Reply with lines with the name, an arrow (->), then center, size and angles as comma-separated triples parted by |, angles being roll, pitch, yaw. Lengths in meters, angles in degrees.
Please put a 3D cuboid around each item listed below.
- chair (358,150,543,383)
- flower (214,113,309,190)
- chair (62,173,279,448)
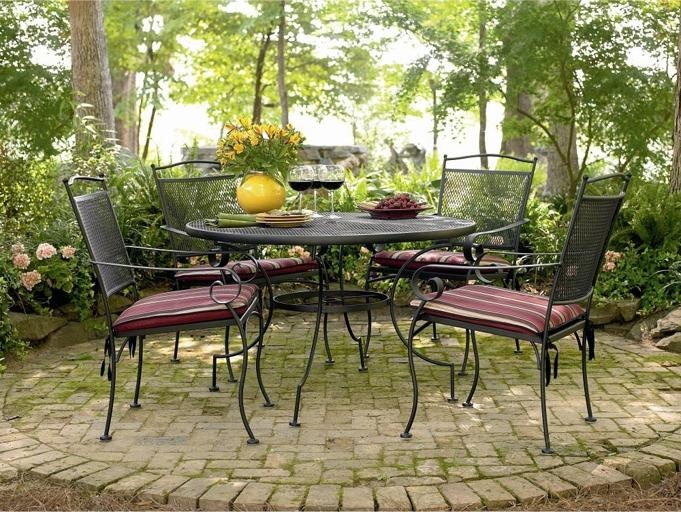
chair -> 0.711, -0.012, 4.417 | 1.269, 1.247, 1.160 | 3, 16, 31
flower -> -0.491, -0.634, 3.554 | 0.507, 0.257, 0.463 | -9, 15, -33
chair -> -0.899, 0.264, 3.374 | 1.232, 1.116, 0.862 | 5, 9, -9
